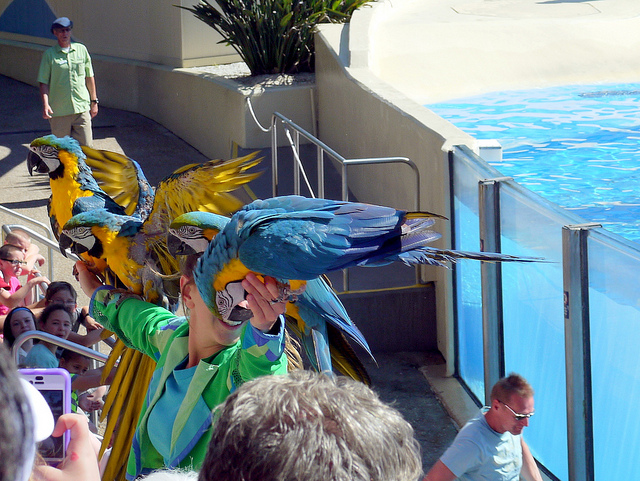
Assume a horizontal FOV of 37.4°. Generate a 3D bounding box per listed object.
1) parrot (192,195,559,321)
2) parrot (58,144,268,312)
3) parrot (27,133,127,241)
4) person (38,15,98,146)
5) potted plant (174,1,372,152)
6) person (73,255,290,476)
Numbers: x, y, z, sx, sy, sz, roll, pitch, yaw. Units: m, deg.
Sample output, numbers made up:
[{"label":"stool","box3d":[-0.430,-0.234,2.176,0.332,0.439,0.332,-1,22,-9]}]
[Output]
[{"label":"parrot","box3d":[0.022,0.068,4.304,1.134,0.482,0.472,-8,17,-28]},{"label":"parrot","box3d":[-0.967,-0.091,5.165,1.203,0.709,0.970,-6,12,40]},{"label":"parrot","box3d":[-1.641,-0.195,5.929,0.800,0.469,0.904,-5,45,-18]},{"label":"person","box3d":[-2.595,-1.624,9.806,0.561,1.300,0.520,-7,17,-20]},{"label":"potted plant","box3d":[-0.476,-1.871,10.902,2.209,2.344,1.895,-4,17,-15]},{"label":"person","box3d":[-0.526,0.551,4.588,1.075,0.909,1.024,-5,0,17]}]
